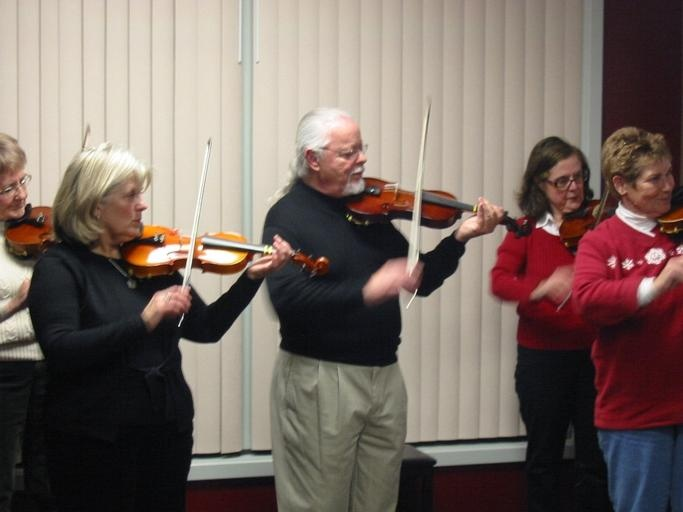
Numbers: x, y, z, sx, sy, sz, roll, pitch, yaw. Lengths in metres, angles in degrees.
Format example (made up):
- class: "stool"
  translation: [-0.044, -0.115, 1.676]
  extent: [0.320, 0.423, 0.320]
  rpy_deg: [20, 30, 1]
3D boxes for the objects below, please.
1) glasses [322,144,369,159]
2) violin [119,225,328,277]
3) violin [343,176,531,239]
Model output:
- class: "glasses"
  translation: [0.004, -0.391, 2.900]
  extent: [0.155, 0.064, 0.033]
  rpy_deg: [2, -1, -16]
- class: "violin"
  translation: [-0.428, -0.017, 2.733]
  extent: [0.633, 0.108, 0.276]
  rpy_deg: [8, 28, -7]
- class: "violin"
  translation: [0.329, -0.179, 2.984]
  extent: [0.718, 0.141, 0.295]
  rpy_deg: [13, 32, -5]
